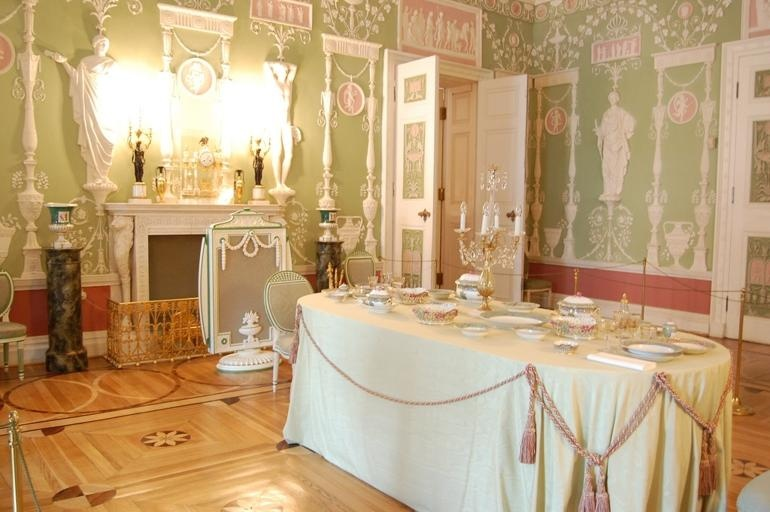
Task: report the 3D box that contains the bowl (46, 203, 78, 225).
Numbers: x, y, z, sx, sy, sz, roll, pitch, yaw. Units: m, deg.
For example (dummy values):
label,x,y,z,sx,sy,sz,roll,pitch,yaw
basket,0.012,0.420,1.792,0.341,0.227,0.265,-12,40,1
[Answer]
label,x,y,z,sx,sy,sz,roll,pitch,yaw
bowl,-3.394,-0.434,5.895,0.276,0.216,0.263,1,-5,0

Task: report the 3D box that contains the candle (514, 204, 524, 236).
label,x,y,z,sx,sy,sz,roll,pitch,yaw
candle,0.946,-0.246,3.946,0.054,0.238,0.276,3,13,12

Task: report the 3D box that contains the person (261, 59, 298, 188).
label,x,y,z,sx,sy,sz,roll,pitch,yaw
person,-1.306,-1.646,7.143,0.379,1.554,0.335,-2,13,-12

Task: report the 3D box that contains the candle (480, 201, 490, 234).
label,x,y,z,sx,sy,sz,roll,pitch,yaw
candle,0.752,-0.270,4.124,0.068,0.232,0.194,3,13,12

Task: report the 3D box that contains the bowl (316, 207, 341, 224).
label,x,y,z,sx,sy,sz,roll,pitch,yaw
bowl,-0.744,-0.511,7.169,0.204,0.158,0.223,0,2,0

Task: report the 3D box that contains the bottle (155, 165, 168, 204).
label,x,y,z,sx,sy,sz,roll,pitch,yaw
bottle,-2.589,-0.829,6.480,0.146,0.393,0.221,-4,13,-20

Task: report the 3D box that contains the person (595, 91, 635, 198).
label,x,y,z,sx,sy,sz,roll,pitch,yaw
person,3.287,-1.584,8.080,0.269,1.541,0.540,-6,14,-25

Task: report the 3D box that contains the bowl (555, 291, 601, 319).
label,x,y,z,sx,sy,sz,roll,pitch,yaw
bowl,1.289,0.342,3.776,0.193,0.208,0.203,1,-5,0

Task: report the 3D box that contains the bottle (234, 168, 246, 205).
label,x,y,z,sx,sy,sz,roll,pitch,yaw
bottle,-1.804,-0.858,6.923,0.144,0.402,0.196,-3,13,-14

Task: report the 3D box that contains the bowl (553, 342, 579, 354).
label,x,y,z,sx,sy,sz,roll,pitch,yaw
bowl,1.107,0.544,3.392,0.147,0.062,0.082,0,12,-1

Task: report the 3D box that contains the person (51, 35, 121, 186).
label,x,y,z,sx,sy,sz,roll,pitch,yaw
person,-3.245,-1.597,6.197,0.555,1.602,0.327,-7,14,-30
